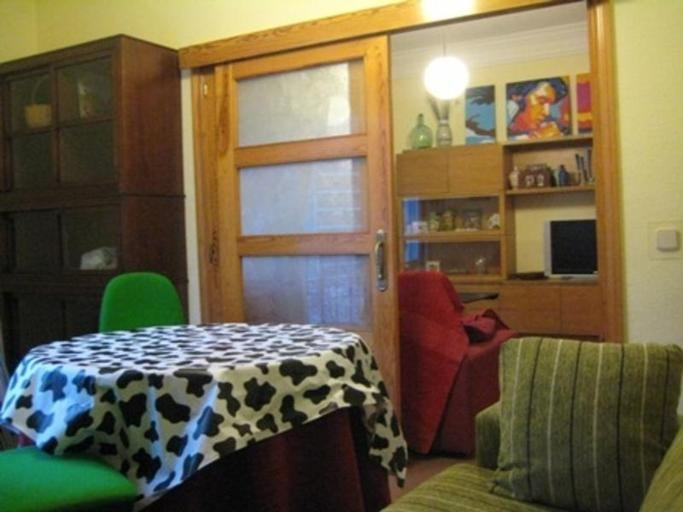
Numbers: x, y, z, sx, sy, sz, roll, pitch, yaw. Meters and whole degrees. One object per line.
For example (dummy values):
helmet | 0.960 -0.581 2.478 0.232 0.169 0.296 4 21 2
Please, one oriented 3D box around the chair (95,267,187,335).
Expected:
chair | -1.027 0.212 2.781 0.306 0.406 0.338 -2 5 -24
